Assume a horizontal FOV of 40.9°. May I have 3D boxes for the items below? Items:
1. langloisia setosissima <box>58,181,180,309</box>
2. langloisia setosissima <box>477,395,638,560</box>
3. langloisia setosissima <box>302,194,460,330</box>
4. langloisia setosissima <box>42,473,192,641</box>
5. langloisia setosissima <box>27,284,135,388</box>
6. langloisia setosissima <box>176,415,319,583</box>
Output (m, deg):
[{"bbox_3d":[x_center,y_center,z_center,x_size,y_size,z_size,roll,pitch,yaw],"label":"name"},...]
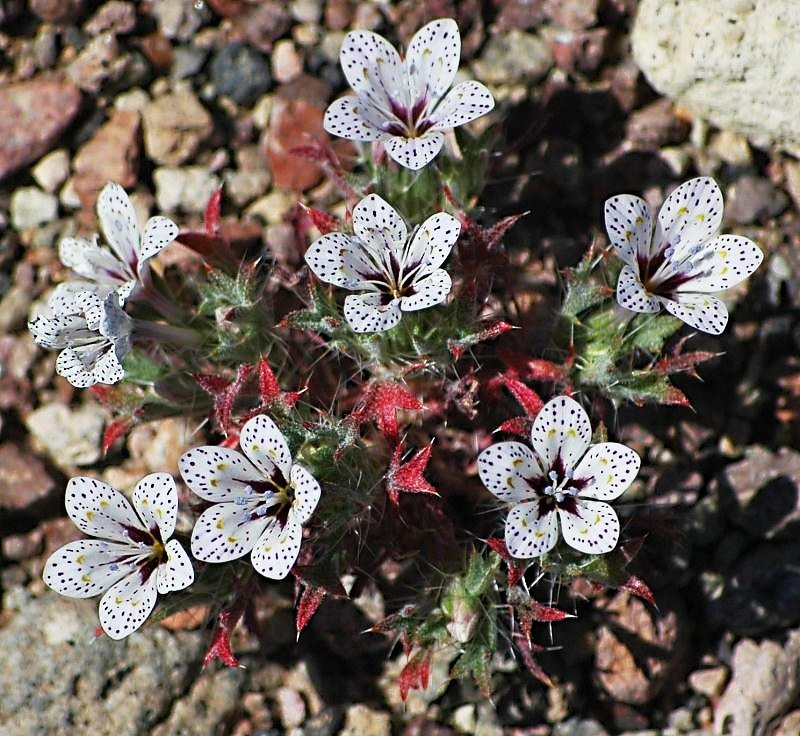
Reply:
[{"bbox_3d":[-1.041,-0.449,4.034,0.395,0.194,0.547,-2,83,39],"label":"langloisia setosissima"},{"bbox_3d":[0.565,0.403,3.687,0.536,0.168,0.527,-29,84,-1],"label":"langloisia setosissima"},{"bbox_3d":[-0.069,-0.347,3.842,0.529,0.652,0.243,-2,68,-16],"label":"langloisia setosissima"},{"bbox_3d":[-0.972,0.663,3.742,0.206,0.540,0.603,54,50,-30],"label":"langloisia setosissima"},{"bbox_3d":[-1.123,-0.152,3.867,0.296,0.168,0.419,-28,88,16],"label":"langloisia setosissima"},{"bbox_3d":[-0.497,0.467,3.704,0.450,0.240,0.607,15,95,29],"label":"langloisia setosissima"}]
